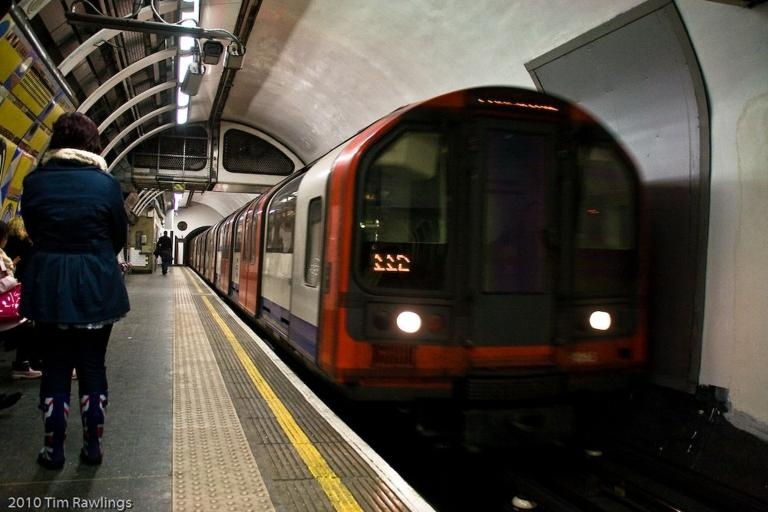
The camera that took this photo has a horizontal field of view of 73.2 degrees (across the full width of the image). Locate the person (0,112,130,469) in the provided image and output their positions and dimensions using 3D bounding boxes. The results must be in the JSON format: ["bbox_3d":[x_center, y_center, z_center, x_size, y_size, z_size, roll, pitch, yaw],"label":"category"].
[{"bbox_3d":[-2.413,0.263,4.227,0.865,2.687,0.905,0,0,45],"label":"person"}]

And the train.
[{"bbox_3d":[0.329,0.044,5.949,4.562,3.730,2.317,5,4,36],"label":"train"}]
